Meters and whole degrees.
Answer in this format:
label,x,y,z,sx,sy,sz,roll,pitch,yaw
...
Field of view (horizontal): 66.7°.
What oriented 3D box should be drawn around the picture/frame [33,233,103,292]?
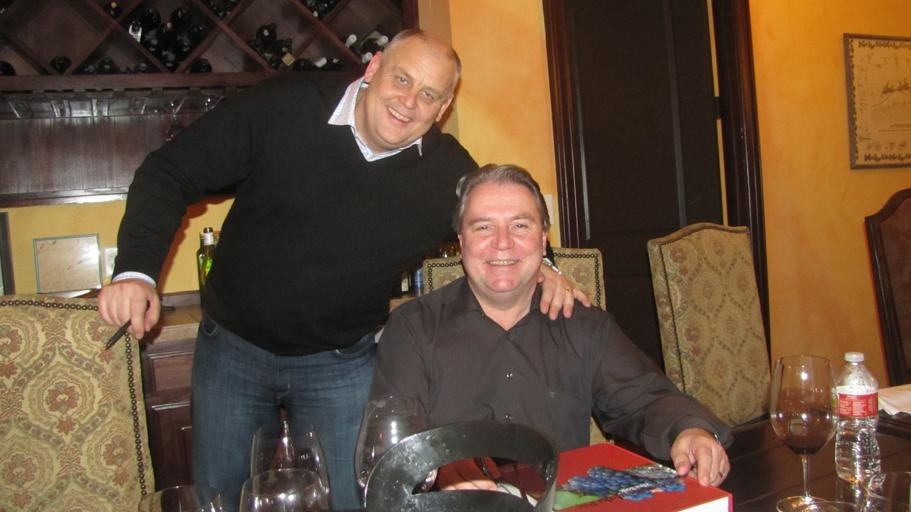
label,x,y,z,sx,sy,sz,roll,pitch,yaw
picture/frame,-2.428,0.033,4.341,0.400,0.348,0.088,-8,3,-15
